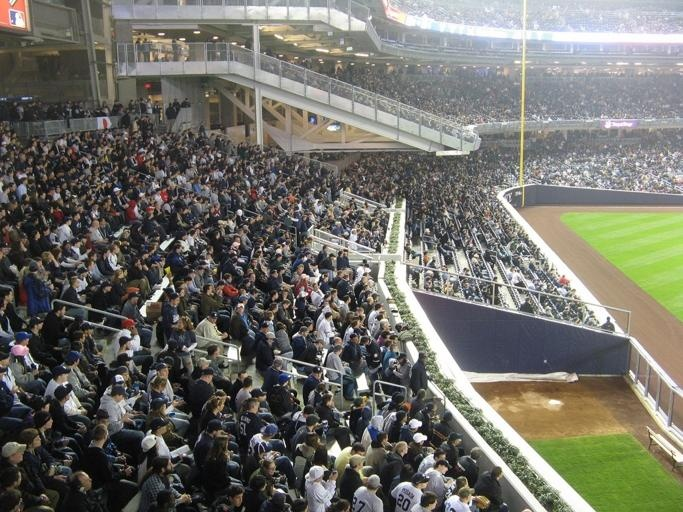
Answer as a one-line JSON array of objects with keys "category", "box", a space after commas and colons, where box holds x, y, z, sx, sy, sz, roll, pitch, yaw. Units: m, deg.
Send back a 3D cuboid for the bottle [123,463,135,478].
[{"category": "bottle", "box": [-3.312, 3.341, 9.664, 0.158, 0.272, 0.138, 4, 4, -44]}]
